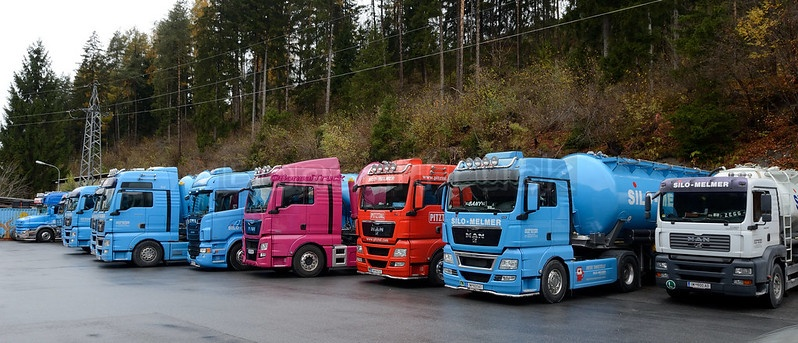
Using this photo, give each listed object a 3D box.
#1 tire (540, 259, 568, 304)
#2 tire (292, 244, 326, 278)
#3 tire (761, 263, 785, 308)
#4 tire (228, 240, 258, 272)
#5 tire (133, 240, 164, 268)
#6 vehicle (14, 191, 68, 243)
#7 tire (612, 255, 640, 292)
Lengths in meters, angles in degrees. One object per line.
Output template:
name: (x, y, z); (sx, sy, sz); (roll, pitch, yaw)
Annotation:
tire: (12.431, 8.953, 47.135); (2.394, 3.443, 0.413); (-1, -4, -16)
tire: (-8.079, 7.909, 51.830); (2.521, 2.321, 0.862); (23, 0, -11)
tire: (29.532, 9.145, 46.343); (3.492, 3.145, 1.205); (12, -10, -33)
tire: (-14.224, 7.592, 53.045); (3.424, 3.049, 1.138); (0, 3, -10)
tire: (-23.708, 7.722, 55.022); (2.870, 2.565, 1.058); (2, -4, -26)
vehicle: (-41.958, 5.470, 68.785); (9.505, 5.809, 2.918); (-4, -4, 31)
tire: (18.788, 8.532, 48.663); (3.358, 3.021, 1.124); (2, -5, -35)
